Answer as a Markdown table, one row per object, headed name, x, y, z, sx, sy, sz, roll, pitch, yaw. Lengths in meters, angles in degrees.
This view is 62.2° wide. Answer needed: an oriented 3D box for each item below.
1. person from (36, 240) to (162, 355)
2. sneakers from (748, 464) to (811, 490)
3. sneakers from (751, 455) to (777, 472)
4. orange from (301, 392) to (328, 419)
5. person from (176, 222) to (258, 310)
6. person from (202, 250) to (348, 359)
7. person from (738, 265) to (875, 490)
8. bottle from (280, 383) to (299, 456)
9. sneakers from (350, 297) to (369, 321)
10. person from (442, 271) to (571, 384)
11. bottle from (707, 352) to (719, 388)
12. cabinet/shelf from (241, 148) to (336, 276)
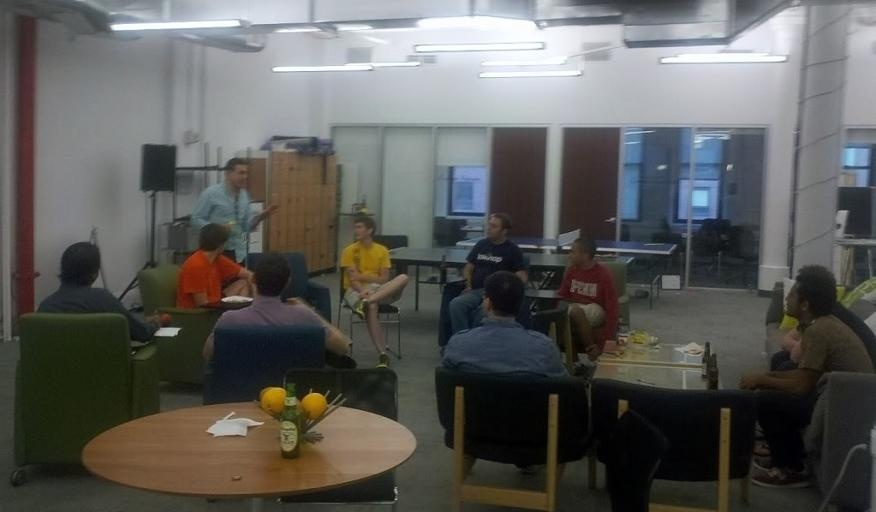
| name | x | y | z | sx | sy | sz | roll | pitch | yaw |
| --- | --- | --- | --- | --- | --- | --- | --- | --- | --- |
| person | -3.380 | 0.402 | 7.036 | 1.310 | 0.964 | 0.713 | 6 | 1 | 5 |
| sneakers | 3.247 | 2.089 | 6.968 | 0.603 | 0.204 | 0.207 | 3 | 3 | 6 |
| sneakers | 3.166 | 2.024 | 7.092 | 0.090 | 0.086 | 0.220 | 2 | 1 | -30 |
| orange | -0.941 | 1.151 | 5.597 | 0.169 | 0.151 | 0.209 | 5 | 5 | 9 |
| person | -2.442 | 0.147 | 8.510 | 1.115 | 1.248 | 0.985 | -2 | 14 | -21 |
| person | -1.509 | 0.479 | 6.748 | 1.300 | 0.969 | 0.368 | 0 | 5 | -3 |
| person | 3.450 | 1.132 | 6.868 | 1.030 | 2.071 | 0.630 | 3 | 6 | 27 |
| bottle | -1.120 | 1.235 | 5.502 | 0.168 | 0.541 | 0.224 | -1 | 5 | -11 |
| sneakers | -0.975 | 0.657 | 9.082 | 0.147 | 0.146 | 0.372 | 2 | 6 | -11 |
| person | 0.548 | 0.627 | 6.446 | 1.519 | 0.995 | 0.798 | 2 | 5 | -3 |
| bottle | 2.615 | 1.103 | 6.942 | 0.060 | 0.096 | 0.388 | 11 | 24 | 14 |
| cabinet/shelf | -2.607 | -0.815 | 12.419 | 0.918 | 2.417 | 2.731 | 0 | 1 | 23 |
